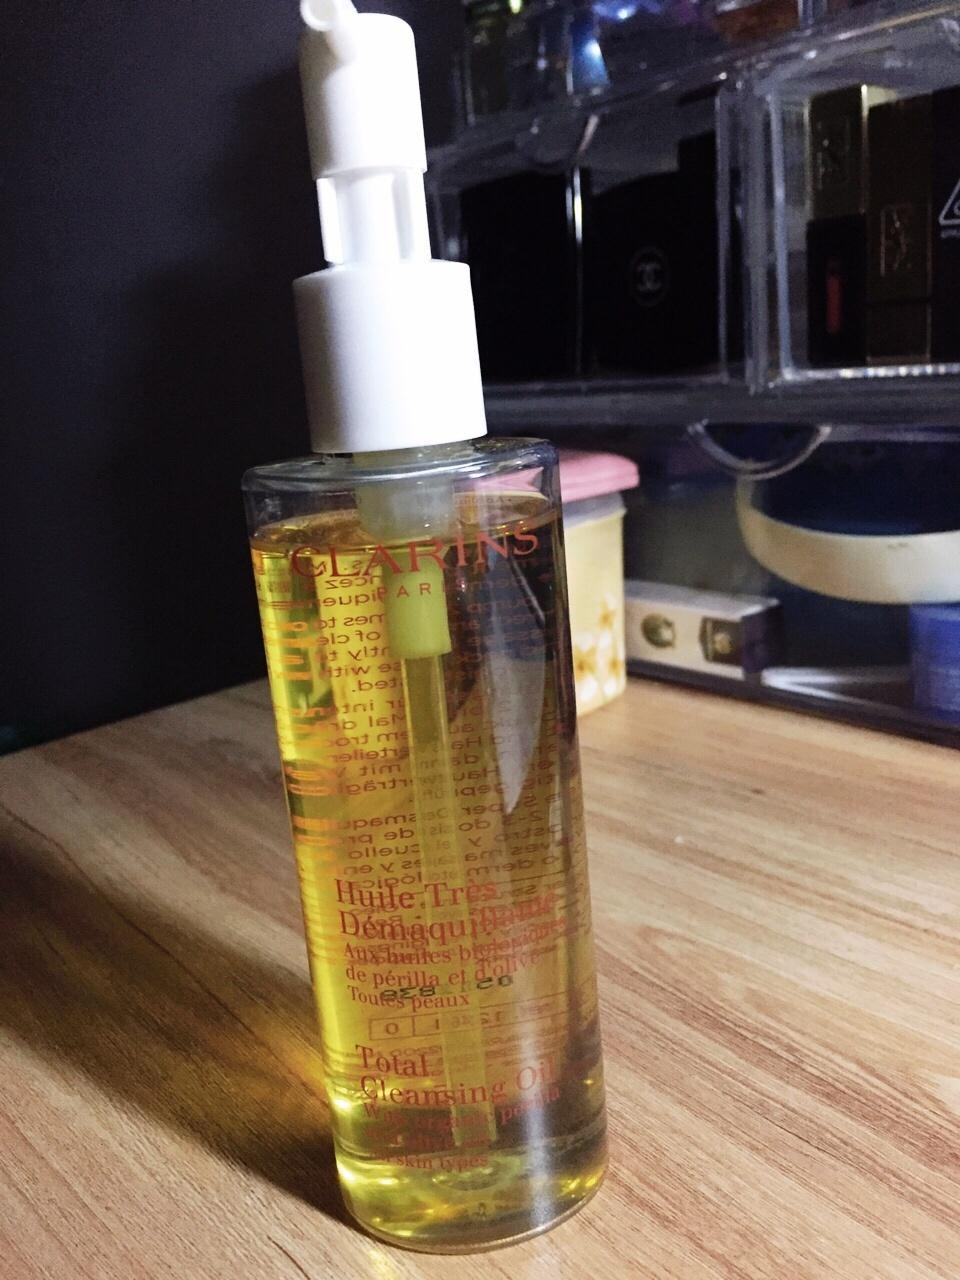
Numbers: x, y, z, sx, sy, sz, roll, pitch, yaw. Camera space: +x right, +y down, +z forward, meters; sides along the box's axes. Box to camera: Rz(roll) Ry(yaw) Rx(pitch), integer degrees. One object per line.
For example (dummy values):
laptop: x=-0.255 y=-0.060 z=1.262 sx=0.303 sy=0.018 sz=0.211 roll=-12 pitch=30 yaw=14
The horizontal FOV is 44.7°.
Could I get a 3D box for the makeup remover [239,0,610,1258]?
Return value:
makeup remover: x=-0.013 y=0.003 z=0.238 sx=0.066 sy=0.241 sz=0.076 roll=-6 pitch=17 yaw=3
